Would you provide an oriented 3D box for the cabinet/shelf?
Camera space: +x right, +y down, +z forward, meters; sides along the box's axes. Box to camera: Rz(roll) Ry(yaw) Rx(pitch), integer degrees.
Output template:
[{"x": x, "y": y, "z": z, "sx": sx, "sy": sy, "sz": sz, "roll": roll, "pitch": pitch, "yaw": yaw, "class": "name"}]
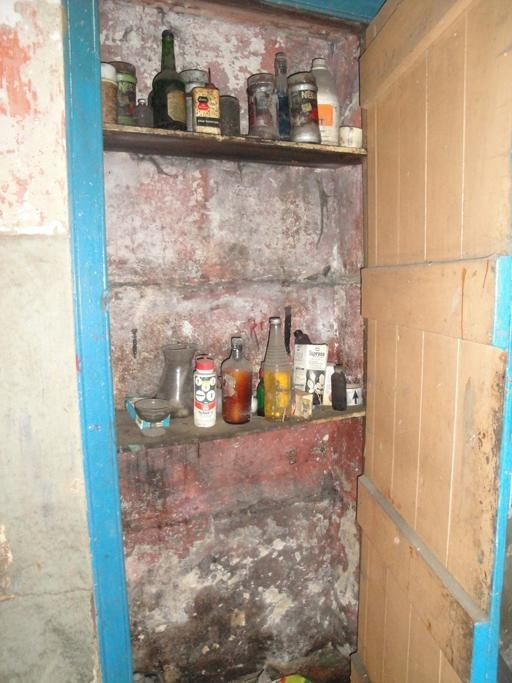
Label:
[{"x": -0.064, "y": -0.161, "z": 1.547, "sx": 0.878, "sy": 0.884, "sz": 0.263, "roll": 1, "pitch": -5, "yaw": -38, "class": "cabinet/shelf"}]
